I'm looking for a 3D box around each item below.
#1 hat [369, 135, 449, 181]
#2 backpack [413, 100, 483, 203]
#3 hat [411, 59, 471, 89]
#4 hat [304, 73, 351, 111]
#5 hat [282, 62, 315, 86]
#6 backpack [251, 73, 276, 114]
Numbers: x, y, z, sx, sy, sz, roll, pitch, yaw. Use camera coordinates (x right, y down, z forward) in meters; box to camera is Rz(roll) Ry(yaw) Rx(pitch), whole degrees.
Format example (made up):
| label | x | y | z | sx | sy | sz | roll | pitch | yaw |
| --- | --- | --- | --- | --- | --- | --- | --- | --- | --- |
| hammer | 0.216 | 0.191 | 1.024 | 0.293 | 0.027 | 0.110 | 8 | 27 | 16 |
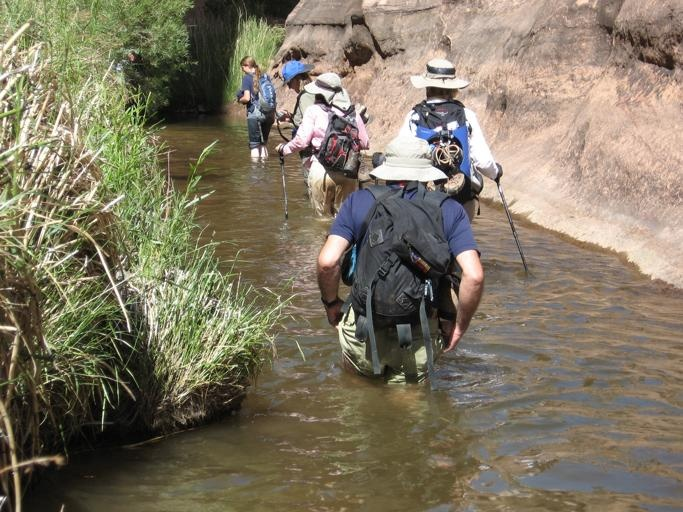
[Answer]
| label | x | y | z | sx | sy | sz | roll | pitch | yaw |
| --- | --- | --- | --- | --- | --- | --- | --- | --- | --- |
| hat | 0.515 | -0.706 | 6.637 | 0.429 | 0.199 | 0.410 | 3 | 6 | 9 |
| backpack | 0.917 | -0.938 | 7.892 | 0.588 | 0.916 | 0.382 | 1 | 4 | 15 |
| hat | 0.903 | -1.683 | 8.307 | 0.422 | 0.169 | 0.420 | 1 | 16 | -3 |
| hat | -0.118 | -1.989 | 10.550 | 0.506 | 0.202 | 0.455 | 23 | 18 | -12 |
| hat | -0.657 | -2.602 | 12.565 | 0.517 | 0.253 | 0.608 | -36 | 12 | 4 |
| backpack | -1.384 | -2.882 | 15.834 | 0.348 | 0.573 | 0.542 | -2 | 21 | -11 |
